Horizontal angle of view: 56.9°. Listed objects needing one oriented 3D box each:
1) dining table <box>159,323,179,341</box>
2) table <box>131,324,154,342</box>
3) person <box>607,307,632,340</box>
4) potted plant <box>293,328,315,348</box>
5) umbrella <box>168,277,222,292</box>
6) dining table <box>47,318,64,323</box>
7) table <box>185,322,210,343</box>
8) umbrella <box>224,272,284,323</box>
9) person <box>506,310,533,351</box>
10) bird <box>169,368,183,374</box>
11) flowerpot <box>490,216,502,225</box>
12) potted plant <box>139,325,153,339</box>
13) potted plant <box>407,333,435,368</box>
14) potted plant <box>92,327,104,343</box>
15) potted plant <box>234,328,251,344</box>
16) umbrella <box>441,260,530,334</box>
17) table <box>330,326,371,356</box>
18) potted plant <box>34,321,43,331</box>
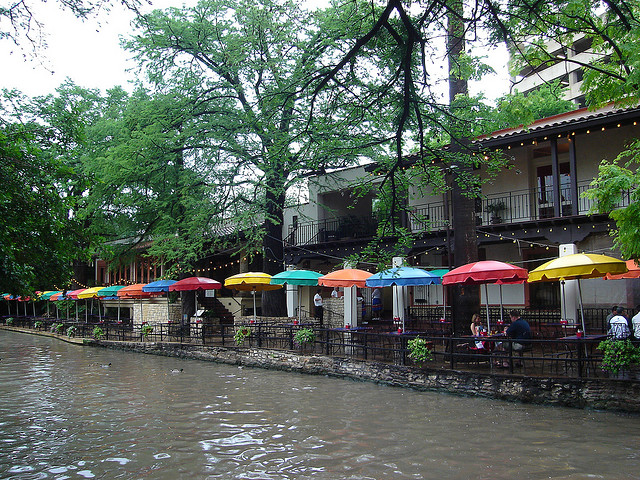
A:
[{"bbox_3d":[-7.971,4.909,31.505,1.128,0.841,0.999,-1,-11,3],"label":"dining table"},{"bbox_3d":[-9.769,5.189,32.817,1.245,1.025,0.083,0,1,34],"label":"table"},{"bbox_3d":[8.443,2.417,16.778,0.607,0.926,2.058,-3,-2,26],"label":"person"},{"bbox_3d":[-0.635,3.770,22.693,0.718,0.576,0.675,2,1,-35],"label":"potted plant"},{"bbox_3d":[-6.170,2.160,29.064,2.305,0.642,1.482,-3,-2,43],"label":"umbrella"},{"bbox_3d":[-20.378,6.250,45.734,2.456,0.367,0.188,-5,-11,39],"label":"dining table"},{"bbox_3d":[-6.091,4.645,30.263,1.086,0.964,1.101,-5,-6,44],"label":"table"},{"bbox_3d":[-3.115,1.966,27.086,2.656,1.984,2.356,1,-9,-1],"label":"umbrella"},{"bbox_3d":[6.033,2.808,18.151,0.714,1.276,1.199,-3,-1,16],"label":"person"},{"bbox_3d":[-5.665,5.187,23.255,0.395,0.196,0.134,4,13,27],"label":"bird"},{"bbox_3d":[8.109,-0.911,27.477,0.404,0.222,0.358,0,-1,2],"label":"flowerpot"},{"bbox_3d":[-9.115,4.906,31.392,0.754,0.471,0.692,3,-4,-29],"label":"potted plant"},{"bbox_3d":[3.219,3.573,19.107,0.816,1.067,1.265,-3,-1,8],"label":"potted plant"},{"bbox_3d":[-13.316,5.711,35.630,0.916,0.737,0.836,1,-2,-16],"label":"potted plant"},{"bbox_3d":[-3.332,4.117,25.358,0.668,0.664,0.386,11,-7,4],"label":"potted plant"},{"bbox_3d":[5.333,1.928,19.113,3.075,2.621,2.837,1,-5,-22],"label":"umbrella"},{"bbox_3d":[1.207,3.701,22.677,1.138,0.840,1.005,-1,1,0],"label":"table"},{"bbox_3d":[-22.702,6.941,47.563,0.911,0.701,0.804,-3,-10,-7],"label":"potted plant"}]
